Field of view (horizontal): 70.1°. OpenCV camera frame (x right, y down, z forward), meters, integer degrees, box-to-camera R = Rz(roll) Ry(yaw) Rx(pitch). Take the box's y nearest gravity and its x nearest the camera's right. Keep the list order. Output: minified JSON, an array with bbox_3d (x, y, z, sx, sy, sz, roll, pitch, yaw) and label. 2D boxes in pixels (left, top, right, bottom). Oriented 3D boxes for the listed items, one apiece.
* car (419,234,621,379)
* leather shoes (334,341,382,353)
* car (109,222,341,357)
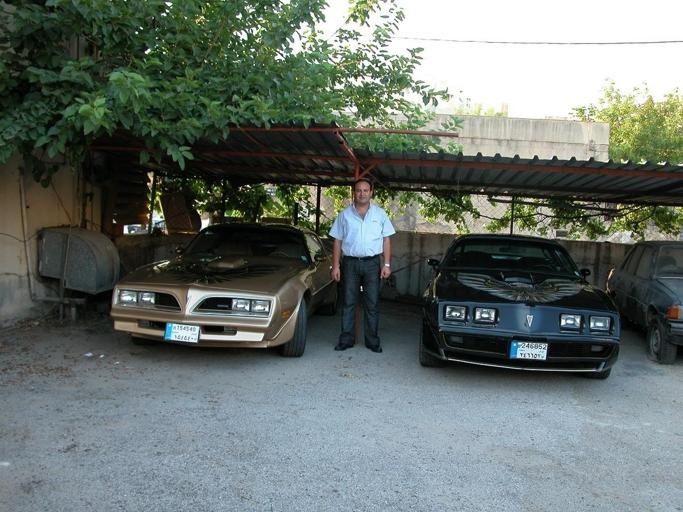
[{"bbox_3d":[1.887,0.470,5.366,1.437,0.889,2.569,1,-2,11],"label":"car"},{"bbox_3d":[0.218,1.172,6.444,0.640,0.248,0.203,-2,6,3],"label":"leather shoes"},{"bbox_3d":[-1.179,0.385,6.372,1.714,0.854,2.619,3,1,11],"label":"car"}]
